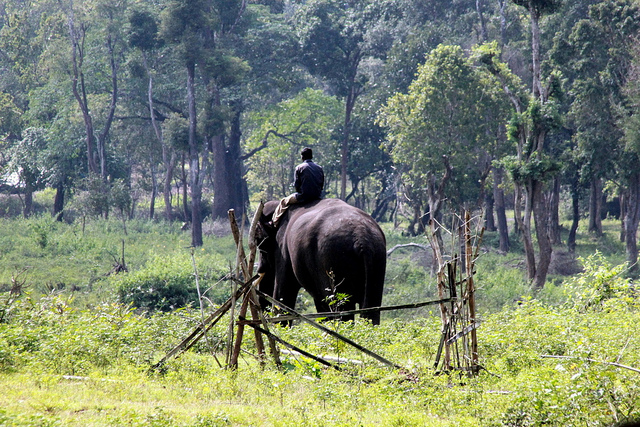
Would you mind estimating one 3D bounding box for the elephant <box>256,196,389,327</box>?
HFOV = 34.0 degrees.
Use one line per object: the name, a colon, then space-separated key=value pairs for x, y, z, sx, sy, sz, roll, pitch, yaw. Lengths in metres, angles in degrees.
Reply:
elephant: x=-0.502 y=2.426 z=48.188 sx=4.289 sy=6.434 sz=10.084 roll=-11 pitch=9 yaw=-30
